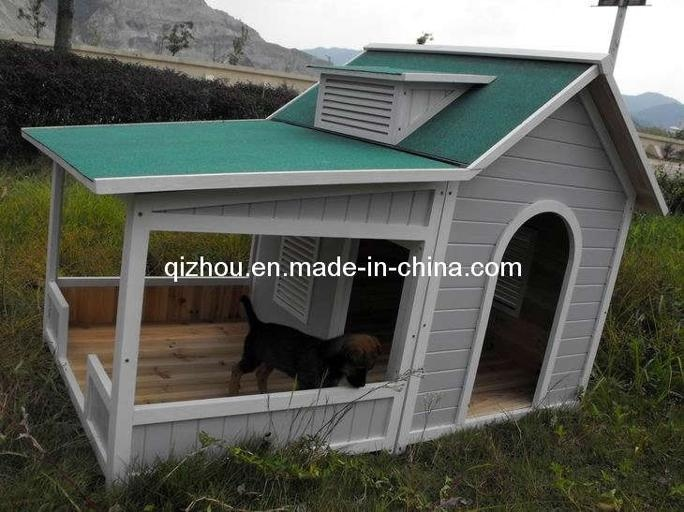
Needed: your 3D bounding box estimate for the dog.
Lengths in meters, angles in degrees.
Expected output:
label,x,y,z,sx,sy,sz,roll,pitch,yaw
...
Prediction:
label,x,y,z,sx,sy,sz,roll,pitch,yaw
dog,-0.372,0.961,4.570,1.301,0.844,0.413,15,8,25
